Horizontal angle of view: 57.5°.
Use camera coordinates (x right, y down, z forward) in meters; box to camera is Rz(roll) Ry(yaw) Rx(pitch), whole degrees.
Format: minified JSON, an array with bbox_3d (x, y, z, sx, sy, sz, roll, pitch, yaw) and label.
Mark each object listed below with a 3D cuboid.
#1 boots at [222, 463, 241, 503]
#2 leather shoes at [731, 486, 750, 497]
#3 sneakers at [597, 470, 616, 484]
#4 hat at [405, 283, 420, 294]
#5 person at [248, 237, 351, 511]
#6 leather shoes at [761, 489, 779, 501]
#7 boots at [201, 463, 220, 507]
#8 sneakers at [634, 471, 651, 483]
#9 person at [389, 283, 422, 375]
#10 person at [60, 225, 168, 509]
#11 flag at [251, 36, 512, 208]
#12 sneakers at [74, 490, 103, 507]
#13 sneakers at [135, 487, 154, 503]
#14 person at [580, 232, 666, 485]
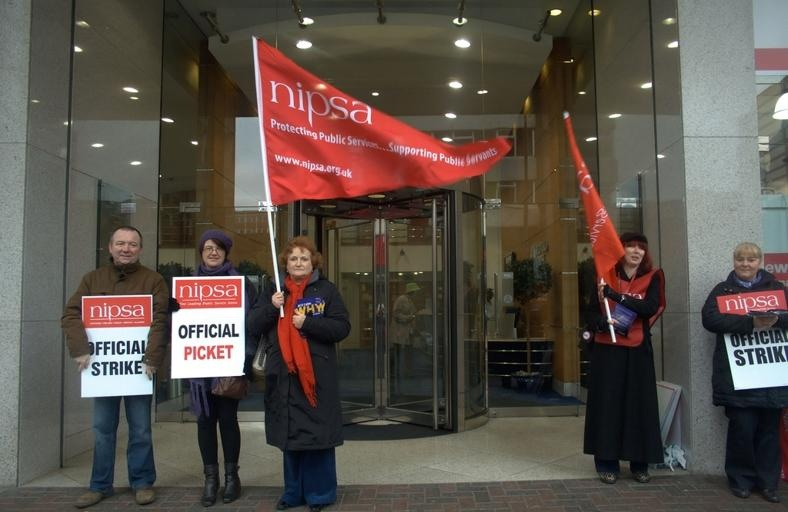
[{"bbox_3d":[-1.704,2.321,7.410,0.166,0.352,0.472,-6,-4,-2],"label":"boots"},{"bbox_3d":[3.556,2.418,7.398,0.144,0.063,0.074,6,2,43],"label":"leather shoes"},{"bbox_3d":[2.269,2.360,7.704,0.178,0.112,0.111,2,6,20],"label":"sneakers"},{"bbox_3d":[0.249,0.437,9.883,0.149,0.076,0.132,3,-9,-38],"label":"hat"},{"bbox_3d":[-0.937,1.170,7.312,0.931,2.691,0.621,0,5,-3],"label":"person"},{"bbox_3d":[3.847,2.443,7.330,0.193,0.095,0.114,-1,5,-6],"label":"leather shoes"},{"bbox_3d":[-1.893,2.320,7.376,0.181,0.373,0.304,-1,6,-12],"label":"boots"},{"bbox_3d":[2.648,2.351,7.650,0.084,0.071,0.172,0,-13,-6],"label":"sneakers"},{"bbox_3d":[0.124,1.043,9.935,0.405,1.357,0.132,3,6,30],"label":"person"},{"bbox_3d":[-2.855,1.109,7.459,1.046,2.803,0.738,-1,5,-14],"label":"person"},{"bbox_3d":[-0.266,-1.692,8.845,2.766,1.647,0.294,0,-5,-22],"label":"flag"},{"bbox_3d":[-3.106,2.478,7.311,0.105,0.100,0.257,1,-13,21],"label":"sneakers"},{"bbox_3d":[-2.561,2.437,7.399,0.194,0.135,0.247,-2,6,-18],"label":"sneakers"},{"bbox_3d":[2.468,1.076,7.818,0.849,2.635,0.660,1,6,15],"label":"person"}]
